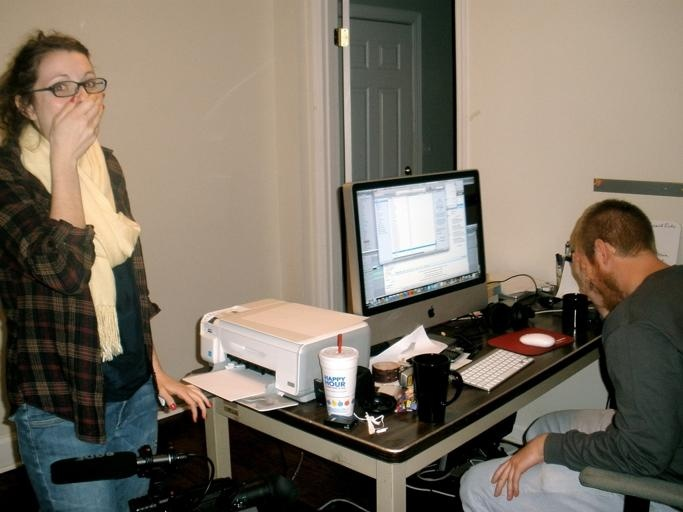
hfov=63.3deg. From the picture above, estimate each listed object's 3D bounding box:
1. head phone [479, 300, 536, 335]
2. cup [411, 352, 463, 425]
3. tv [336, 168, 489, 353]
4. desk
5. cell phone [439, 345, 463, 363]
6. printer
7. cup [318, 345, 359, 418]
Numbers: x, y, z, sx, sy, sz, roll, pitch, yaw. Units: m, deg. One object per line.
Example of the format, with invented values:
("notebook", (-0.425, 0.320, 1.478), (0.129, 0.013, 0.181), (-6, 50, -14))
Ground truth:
("head phone", (0.700, 0.252, 2.332), (0.126, 0.083, 0.158), (-5, 3, 40))
("cup", (0.266, 0.390, 1.638), (0.102, 0.198, 0.099), (-2, 6, 0))
("tv", (0.296, -0.033, 2.118), (0.640, 0.581, 0.180), (-11, 12, -34))
("desk", (0.082, 0.101, 1.774), (0.779, 0.572, 1.100), (10, 17, 41))
("cell phone", (0.406, 0.354, 2.014), (0.079, 0.027, 0.114), (5, 13, 9))
("printer", (-0.193, 0.304, 1.929), (0.517, 0.223, 0.409), (7, 11, 33))
("cup", (-0.005, 0.385, 1.668), (0.119, 0.177, 0.114), (-1, 0, 0))
